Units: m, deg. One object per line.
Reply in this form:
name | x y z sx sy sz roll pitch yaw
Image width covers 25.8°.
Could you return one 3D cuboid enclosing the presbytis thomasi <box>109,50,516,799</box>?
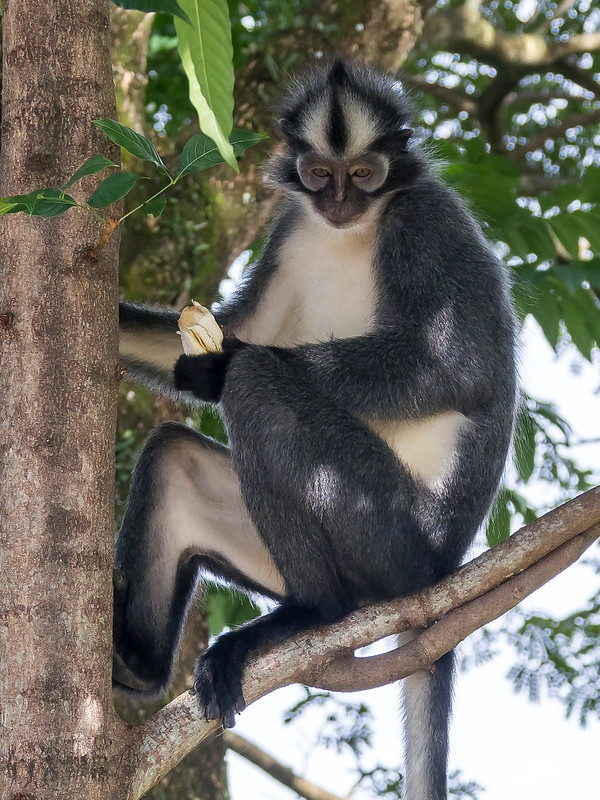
presbytis thomasi | 0.072 0.007 4.086 1.104 2.383 1.141 -31 -57 34
